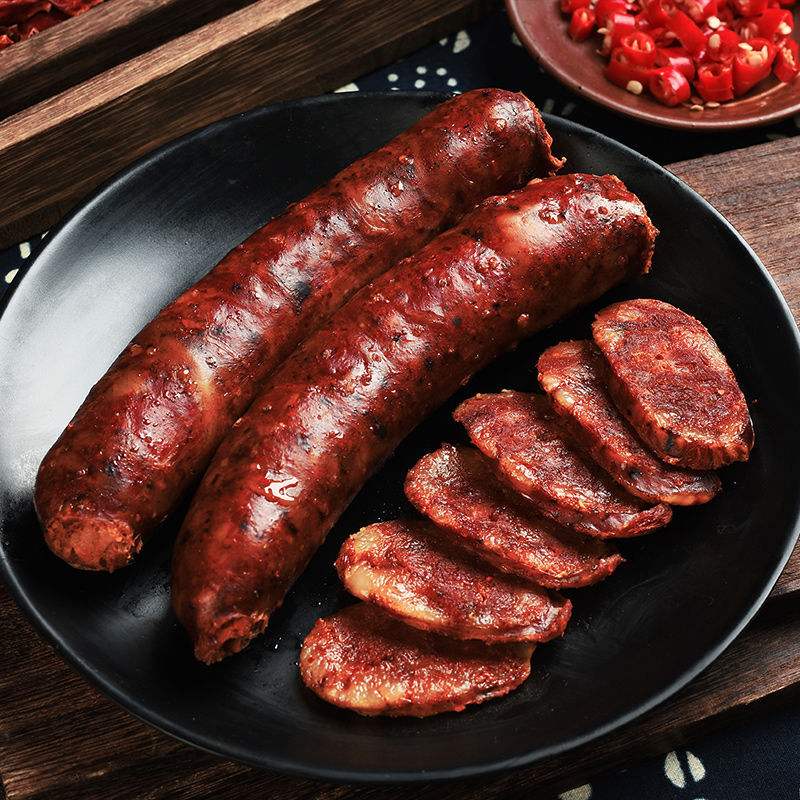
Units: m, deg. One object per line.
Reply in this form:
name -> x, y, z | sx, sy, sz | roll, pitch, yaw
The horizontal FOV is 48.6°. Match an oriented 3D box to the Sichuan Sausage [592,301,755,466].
Sichuan Sausage -> 0.461, -0.011, 1.638 | 0.229, 0.067, 0.333 | -27, 65, -26

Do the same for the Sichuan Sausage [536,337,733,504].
Sichuan Sausage -> 0.364, 0.062, 1.594 | 0.231, 0.068, 0.340 | -20, 61, -47

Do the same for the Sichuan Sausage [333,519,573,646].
Sichuan Sausage -> 0.085, 0.320, 1.516 | 0.349, 0.059, 0.200 | 17, 33, 13
